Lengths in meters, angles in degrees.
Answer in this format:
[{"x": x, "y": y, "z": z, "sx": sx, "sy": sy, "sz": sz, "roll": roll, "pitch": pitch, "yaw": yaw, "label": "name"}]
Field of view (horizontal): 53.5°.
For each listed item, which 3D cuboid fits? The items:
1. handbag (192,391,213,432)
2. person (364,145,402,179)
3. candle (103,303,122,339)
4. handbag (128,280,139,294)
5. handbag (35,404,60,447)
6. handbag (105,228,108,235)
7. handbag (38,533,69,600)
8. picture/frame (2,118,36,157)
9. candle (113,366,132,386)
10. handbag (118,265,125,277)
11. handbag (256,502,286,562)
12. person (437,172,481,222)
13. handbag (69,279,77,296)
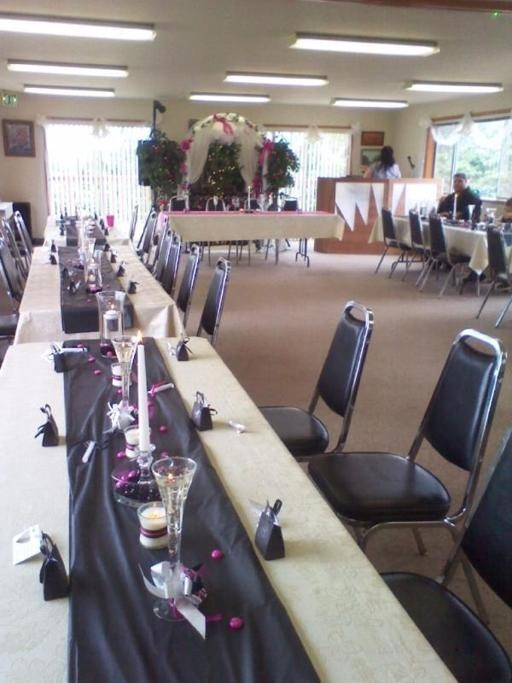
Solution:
[{"x": -0.163, "y": 0.216, "z": 1.559, "sx": 0.040, "sy": 0.066, "sz": 0.087, "roll": -4, "pitch": 12, "yaw": -15, "label": "handbag"}, {"x": 2.630, "y": -3.634, "z": 10.414, "sx": 0.671, "sy": 0.719, "sz": 0.634, "roll": 5, "pitch": 10, "yaw": 12, "label": "person"}, {"x": -0.526, "y": -0.061, "z": 1.865, "sx": 0.064, "sy": 0.107, "sz": 0.103, "roll": 0, "pitch": 10, "yaw": -18, "label": "candle"}, {"x": -0.869, "y": -0.386, "z": 3.593, "sx": 0.057, "sy": 0.114, "sz": 0.110, "roll": 0, "pitch": 18, "yaw": -17, "label": "handbag"}, {"x": -0.595, "y": 0.242, "z": 1.449, "sx": 0.050, "sy": 0.097, "sz": 0.091, "roll": -4, "pitch": 12, "yaw": -19, "label": "handbag"}, {"x": -2.093, "y": -1.541, "z": 7.124, "sx": 0.063, "sy": 0.101, "sz": 0.598, "roll": 0, "pitch": 11, "yaw": -17, "label": "handbag"}, {"x": -0.333, "y": 0.365, "z": 0.831, "sx": 0.034, "sy": 0.089, "sz": 0.084, "roll": -3, "pitch": -4, "yaw": -24, "label": "handbag"}, {"x": -5.175, "y": -4.470, "z": 11.040, "sx": 0.675, "sy": 0.903, "sz": 0.087, "roll": -4, "pitch": 18, "yaw": -19, "label": "picture/frame"}, {"x": -0.440, "y": 0.109, "z": 1.663, "sx": 0.056, "sy": 0.067, "sz": 0.054, "roll": -12, "pitch": 22, "yaw": -41, "label": "candle"}, {"x": -1.086, "y": -0.589, "z": 4.157, "sx": 0.053, "sy": 0.100, "sz": 0.091, "roll": 1, "pitch": 5, "yaw": -4, "label": "handbag"}, {"x": 0.028, "y": 0.359, "z": 0.953, "sx": 0.042, "sy": 0.123, "sz": 0.086, "roll": -1, "pitch": 7, "yaw": -19, "label": "handbag"}, {"x": 3.226, "y": -2.250, "z": 8.152, "sx": 0.565, "sy": 0.772, "sz": 0.524, "roll": 6, "pitch": -3, "yaw": 11, "label": "person"}, {"x": -1.193, "y": -0.355, "z": 3.313, "sx": 0.048, "sy": 0.080, "sz": 0.145, "roll": -2, "pitch": 13, "yaw": -4, "label": "handbag"}]
